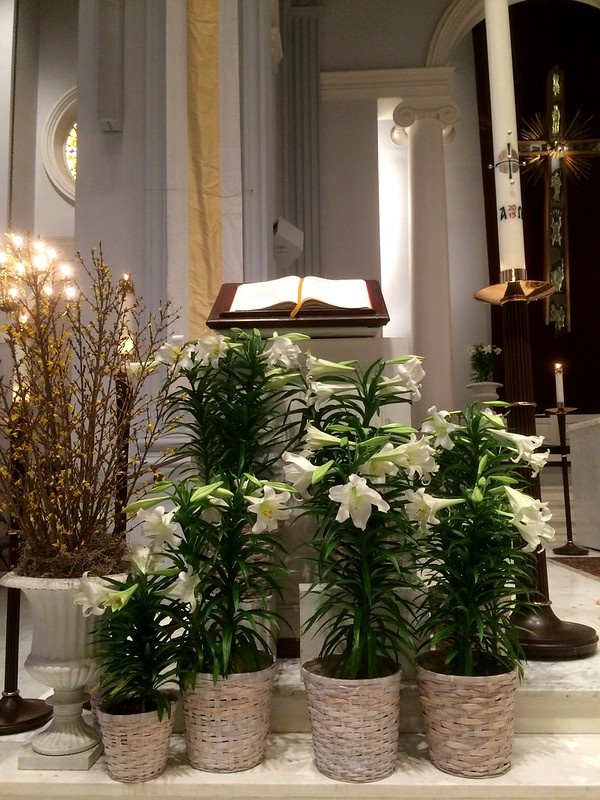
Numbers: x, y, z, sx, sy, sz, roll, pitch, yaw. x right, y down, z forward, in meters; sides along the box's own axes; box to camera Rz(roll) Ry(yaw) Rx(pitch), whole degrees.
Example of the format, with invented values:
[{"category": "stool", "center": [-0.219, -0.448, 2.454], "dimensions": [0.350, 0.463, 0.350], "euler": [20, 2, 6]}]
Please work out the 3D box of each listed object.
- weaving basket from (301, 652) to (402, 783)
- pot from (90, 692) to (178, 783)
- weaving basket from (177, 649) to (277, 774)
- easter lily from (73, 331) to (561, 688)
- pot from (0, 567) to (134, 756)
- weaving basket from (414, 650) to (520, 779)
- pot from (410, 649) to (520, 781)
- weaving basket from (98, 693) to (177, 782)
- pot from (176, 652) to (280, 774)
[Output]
[{"category": "weaving basket", "center": [0.113, 0.735, 1.743], "dimensions": [0.283, 0.204, 0.225], "euler": [-11, -28, 11]}, {"category": "pot", "center": [-0.367, 0.760, 1.731], "dimensions": [0.168, 0.128, 0.175], "euler": [-1, -12, 0]}, {"category": "weaving basket", "center": [-0.162, 0.727, 1.785], "dimensions": [0.225, 0.173, 0.240], "euler": [-1, -9, 1]}, {"category": "easter lily", "center": [0.064, 0.319, 1.848], "dimensions": [1.045, 0.960, 0.794], "euler": [0, 8, 16]}, {"category": "pot", "center": [-0.555, 0.636, 1.963], "dimensions": [0.409, 0.410, 0.361], "euler": [0, -4, -11]}, {"category": "weaving basket", "center": [0.347, 0.706, 1.690], "dimensions": [0.220, 0.189, 0.238], "euler": [0, -18, 1]}, {"category": "pot", "center": [0.374, 0.732, 1.758], "dimensions": [0.248, 0.218, 0.276], "euler": [-15, -23, 33]}, {"category": "weaving basket", "center": [-0.350, 0.756, 1.716], "dimensions": [0.189, 0.124, 0.155], "euler": [-1, -7, 2]}, {"category": "pot", "center": [-0.164, 0.741, 1.798], "dimensions": [0.272, 0.189, 0.234], "euler": [6, -6, -33]}]
